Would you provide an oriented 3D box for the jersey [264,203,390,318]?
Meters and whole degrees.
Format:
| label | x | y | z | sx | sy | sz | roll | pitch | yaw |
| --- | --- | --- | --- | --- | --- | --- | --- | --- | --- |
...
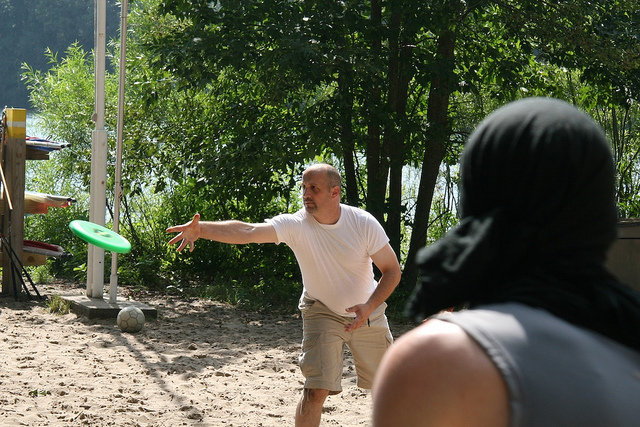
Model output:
| label | x | y | z | sx | sy | sz | roll | pitch | yaw |
| --- | --- | --- | --- | --- | --- | --- | --- | --- | --- |
| jersey | 0.074 | 0.589 | 8.494 | 1.417 | 1.423 | 0.643 | -7 | 13 | -7 |

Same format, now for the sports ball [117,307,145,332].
| label | x | y | z | sx | sy | sz | roll | pitch | yaw |
| --- | --- | --- | --- | --- | --- | --- | --- | --- | --- |
| sports ball | -3.082 | 1.738 | 12.267 | 0.377 | 0.396 | 0.385 | 4 | -8 | 1 |
